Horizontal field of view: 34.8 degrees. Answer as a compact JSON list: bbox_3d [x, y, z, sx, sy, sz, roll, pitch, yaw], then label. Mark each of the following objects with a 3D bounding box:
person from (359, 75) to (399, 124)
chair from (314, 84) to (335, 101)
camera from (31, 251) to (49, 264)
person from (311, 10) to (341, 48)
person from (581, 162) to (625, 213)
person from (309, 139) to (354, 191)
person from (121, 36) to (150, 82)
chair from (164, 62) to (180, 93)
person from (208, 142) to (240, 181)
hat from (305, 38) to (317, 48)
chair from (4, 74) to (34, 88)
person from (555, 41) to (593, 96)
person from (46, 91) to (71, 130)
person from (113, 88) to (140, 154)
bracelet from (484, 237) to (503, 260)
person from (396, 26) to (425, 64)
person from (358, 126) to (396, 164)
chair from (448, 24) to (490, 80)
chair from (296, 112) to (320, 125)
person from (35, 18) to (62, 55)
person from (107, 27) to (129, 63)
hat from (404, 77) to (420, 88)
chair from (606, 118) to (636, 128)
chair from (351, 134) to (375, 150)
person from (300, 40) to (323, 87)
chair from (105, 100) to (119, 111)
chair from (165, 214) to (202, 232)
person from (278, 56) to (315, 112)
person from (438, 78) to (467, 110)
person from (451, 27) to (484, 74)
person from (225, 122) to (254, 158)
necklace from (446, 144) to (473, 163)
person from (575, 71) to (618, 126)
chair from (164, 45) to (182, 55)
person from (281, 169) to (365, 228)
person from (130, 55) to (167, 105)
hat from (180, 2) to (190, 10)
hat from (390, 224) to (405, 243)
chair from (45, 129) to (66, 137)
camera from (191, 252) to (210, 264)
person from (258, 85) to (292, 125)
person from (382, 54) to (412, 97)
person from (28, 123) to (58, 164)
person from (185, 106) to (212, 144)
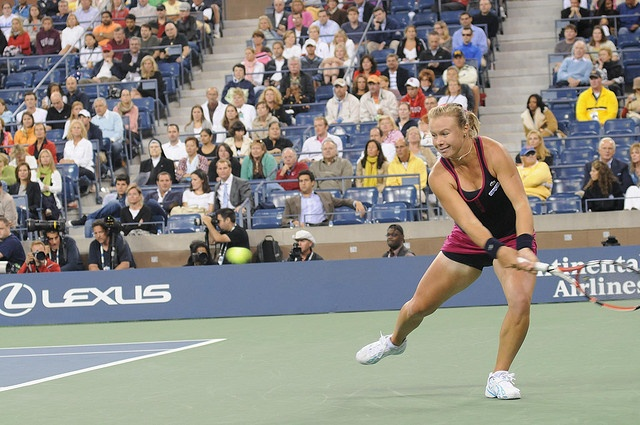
[{"bbox_3d":[1.212,-2.210,21.336,0.827,1.220,0.684,-7,3,-9],"label":"person"},{"bbox_3d":[0.084,-2.635,22.622,0.375,0.359,0.345,0,-4,3],"label":"chair"},{"bbox_3d":[-4.817,0.757,17.620,0.203,0.198,0.219,22,-5,-16],"label":"camera"},{"bbox_3d":[0.098,-4.339,24.181,0.916,0.864,0.486,2,18,21],"label":"person"},{"bbox_3d":[5.036,-0.458,18.210,0.734,0.886,0.400,0,14,13],"label":"person"},{"bbox_3d":[0.192,-0.820,19.428,0.892,1.171,0.630,-5,-12,8],"label":"person"},{"bbox_3d":[-4.387,-3.556,24.025,0.585,1.058,0.686,9,25,10],"label":"person"},{"bbox_3d":[-3.469,-3.189,24.216,0.542,0.725,0.555,-1,-8,-2],"label":"chair"},{"bbox_3d":[-1.839,-0.879,19.677,0.666,0.899,0.518,0,7,12],"label":"person"},{"bbox_3d":[-0.194,-3.837,23.264,0.298,0.137,0.417,0,-4,6],"label":"hat"},{"bbox_3d":[-7.369,-3.231,25.058,0.653,0.452,0.359,0,-5,7],"label":"chair"},{"bbox_3d":[5.325,-2.875,21.337,0.731,0.923,1.687,9,30,17],"label":"person"},{"bbox_3d":[-5.719,-2.127,22.543,0.645,1.043,0.588,-8,12,-14],"label":"person"},{"bbox_3d":[-4.284,-1.871,22.338,0.548,1.493,0.779,2,17,5],"label":"person"},{"bbox_3d":[2.057,0.411,12.129,0.182,0.178,0.234,14,-35,-14],"label":"bracelet"},{"bbox_3d":[2.065,-3.770,23.006,0.785,1.076,0.766,-1,2,6],"label":"person"},{"bbox_3d":[1.127,-1.264,19.688,0.582,0.889,0.515,-9,-28,14],"label":"person"},{"bbox_3d":[3.329,-3.484,22.429,1.026,1.445,0.890,-3,5,13],"label":"chair"},{"bbox_3d":[-0.253,-1.997,21.912,0.409,0.302,0.285,-2,-1,25],"label":"chair"},{"bbox_3d":[-6.918,-4.466,25.954,0.723,0.907,0.625,-4,13,-3],"label":"person"},{"bbox_3d":[-4.864,-3.992,24.878,0.566,0.964,0.527,-1,9,-12],"label":"person"},{"bbox_3d":[1.931,-2.679,21.210,0.273,0.201,0.339,-2,13,5],"label":"hat"},{"bbox_3d":[5.910,-1.724,20.129,0.590,0.186,0.142,0,14,14],"label":"chair"},{"bbox_3d":[0.794,-1.447,20.665,0.452,0.275,0.331,1,8,7],"label":"chair"},{"bbox_3d":[-0.208,-3.209,23.121,0.641,1.369,0.781,0,4,1],"label":"person"},{"bbox_3d":[-4.662,-2.404,22.877,0.318,0.251,0.253,-2,1,18],"label":"chair"},{"bbox_3d":[-2.535,0.214,18.645,0.811,0.437,0.466,0,-1,5],"label":"chair"},{"bbox_3d":[-0.480,-2.660,22.362,0.710,1.398,0.709,-13,20,-19],"label":"person"},{"bbox_3d":[2.658,-2.321,20.444,0.768,0.679,0.442,2,0,23],"label":"person"},{"bbox_3d":[3.194,-3.535,22.350,0.672,0.985,0.598,2,7,20],"label":"person"},{"bbox_3d":[-1.590,-1.416,20.537,0.573,0.768,0.336,-2,-12,-13],"label":"person"},{"bbox_3d":[1.727,-0.722,12.412,0.194,0.051,0.208,-35,-12,37],"label":"necklace"},{"bbox_3d":[5.570,-2.209,20.559,0.840,1.217,0.671,-1,2,-2],"label":"person"},{"bbox_3d":[-3.479,-3.848,24.312,0.332,0.223,0.228,-7,13,-18],"label":"chair"},{"bbox_3d":[-0.159,-0.170,18.648,1.772,1.140,0.898,-7,1,-23],"label":"person"},{"bbox_3d":[-3.957,-2.957,23.203,0.873,1.175,0.866,-6,14,-11],"label":"person"},{"bbox_3d":[-3.327,-5.063,25.253,0.260,0.182,0.356,1,-6,0],"label":"hat"},{"bbox_3d":[1.338,0.372,17.392,0.251,0.286,0.298,3,17,16],"label":"hat"},{"bbox_3d":[-5.723,-1.677,22.095,0.271,0.205,0.187,-1,-22,7],"label":"chair"},{"bbox_3d":[-2.056,0.797,17.646,0.191,0.149,0.252,5,-10,-23],"label":"camera"},{"bbox_3d":[-1.028,-2.090,21.579,0.553,1.151,0.495,-3,5,-19],"label":"person"},{"bbox_3d":[1.607,-2.929,21.999,0.638,0.894,0.627,-1,0,6],"label":"person"},{"bbox_3d":[-5.733,-1.353,21.054,0.631,0.907,0.470,-4,-6,1],"label":"person"},{"bbox_3d":[-2.578,-1.807,21.643,0.618,0.881,0.502,-4,-3,6],"label":"person"}]
